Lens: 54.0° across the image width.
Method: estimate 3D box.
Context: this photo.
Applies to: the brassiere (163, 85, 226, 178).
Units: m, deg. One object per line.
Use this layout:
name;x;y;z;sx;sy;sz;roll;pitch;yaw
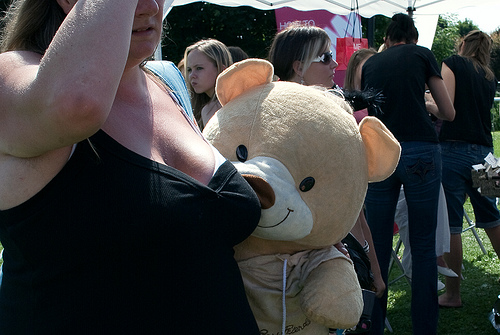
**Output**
brassiere;-0.174;-0.125;1.625;0.129;0.278;0.287;-1;6;-37
